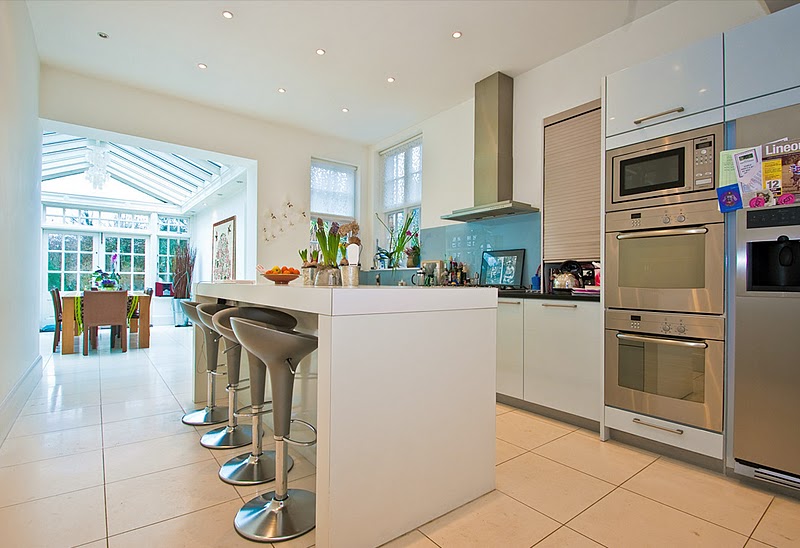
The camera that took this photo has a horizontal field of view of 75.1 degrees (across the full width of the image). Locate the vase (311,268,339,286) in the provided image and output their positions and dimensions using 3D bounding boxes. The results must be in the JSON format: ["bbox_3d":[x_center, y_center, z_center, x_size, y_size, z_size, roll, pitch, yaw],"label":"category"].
[{"bbox_3d":[-0.586,0.001,4.195,0.143,0.118,0.180,-1,3,-25],"label":"vase"}]

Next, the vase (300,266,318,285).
[{"bbox_3d":[-0.739,-0.001,4.457,0.162,0.199,0.166,-2,3,-36],"label":"vase"}]

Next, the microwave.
[{"bbox_3d":[2.282,-0.713,4.438,0.476,0.512,0.784,1,-1,-42],"label":"microwave"}]

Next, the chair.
[{"bbox_3d":[-4.552,0.590,7.987,1.111,0.681,1.096,-2,4,-26],"label":"chair"}]

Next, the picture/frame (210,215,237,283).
[{"bbox_3d":[-3.233,-0.488,9.624,0.054,1.351,1.266,3,-5,-32],"label":"picture/frame"}]

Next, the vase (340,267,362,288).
[{"bbox_3d":[-0.385,0.016,4.232,0.167,0.162,0.124,2,3,-29],"label":"vase"}]

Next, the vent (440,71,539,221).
[{"bbox_3d":[1.037,-1.475,5.908,0.535,1.609,0.856,-3,0,-44],"label":"vent"}]
